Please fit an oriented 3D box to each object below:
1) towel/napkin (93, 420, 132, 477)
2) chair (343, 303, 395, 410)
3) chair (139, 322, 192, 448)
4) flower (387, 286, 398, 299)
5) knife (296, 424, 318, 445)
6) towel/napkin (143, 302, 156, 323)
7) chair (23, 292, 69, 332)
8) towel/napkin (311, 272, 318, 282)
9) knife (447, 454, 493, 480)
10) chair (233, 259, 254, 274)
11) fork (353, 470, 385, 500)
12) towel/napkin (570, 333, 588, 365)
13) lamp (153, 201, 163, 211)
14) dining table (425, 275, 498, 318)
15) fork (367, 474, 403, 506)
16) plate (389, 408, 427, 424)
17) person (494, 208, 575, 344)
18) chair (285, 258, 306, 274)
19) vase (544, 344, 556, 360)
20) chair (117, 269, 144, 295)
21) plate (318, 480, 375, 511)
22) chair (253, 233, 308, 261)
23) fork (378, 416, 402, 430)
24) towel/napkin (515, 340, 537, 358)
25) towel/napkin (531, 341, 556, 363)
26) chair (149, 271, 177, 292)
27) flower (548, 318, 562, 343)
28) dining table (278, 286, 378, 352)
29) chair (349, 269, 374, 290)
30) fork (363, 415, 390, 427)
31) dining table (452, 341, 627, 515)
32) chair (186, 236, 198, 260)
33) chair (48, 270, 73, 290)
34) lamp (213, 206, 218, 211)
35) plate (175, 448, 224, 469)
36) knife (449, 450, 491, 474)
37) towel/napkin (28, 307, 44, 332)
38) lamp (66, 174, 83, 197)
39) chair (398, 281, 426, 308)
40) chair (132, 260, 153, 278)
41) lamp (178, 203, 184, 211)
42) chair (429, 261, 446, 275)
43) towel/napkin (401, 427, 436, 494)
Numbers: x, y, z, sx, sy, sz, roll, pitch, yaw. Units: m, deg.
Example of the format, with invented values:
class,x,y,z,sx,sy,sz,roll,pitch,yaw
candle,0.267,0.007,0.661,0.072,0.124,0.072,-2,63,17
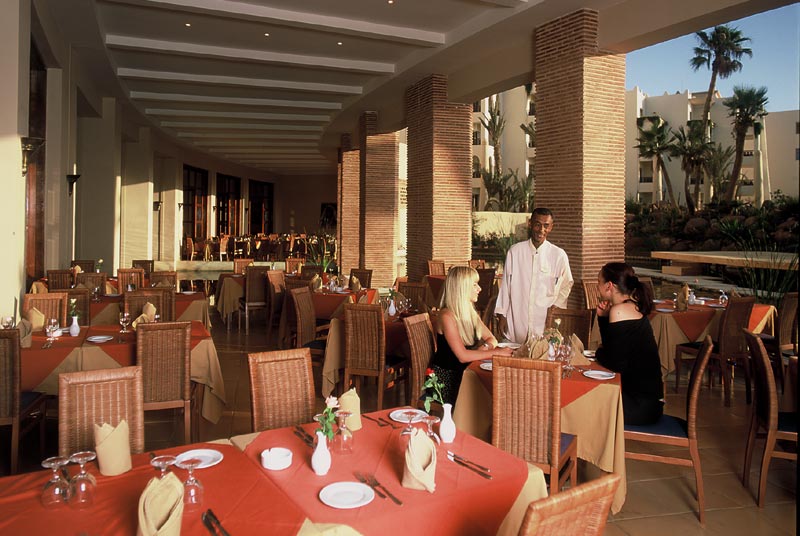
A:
class,x,y,z,sx,sy,sz,roll,pitch,yaw
towel/napkin,-1.628,0.980,3.116,0.184,0.262,0.165,0,-21,-31
chair,-0.357,0.960,6.027,0.526,1.254,0.865,0,8,-6
chair,-2.064,0.983,4.832,0.434,1.030,0.360,-3,8,-25
flower,-0.057,0.310,6.919,0.155,0.166,0.157,-4,3,-19
knife,-0.596,1.036,3.451,0.073,0.035,0.252,-2,12,-22
towel/napkin,-2.460,0.447,5.489,0.188,0.209,0.055,-18,-16,40
chair,-3.694,0.456,5.765,0.333,0.586,0.370,1,-4,-17
towel/napkin,-1.351,0.133,8.787,0.085,0.110,0.208,5,17,2
knife,0.408,1.129,3.182,0.082,0.036,0.312,-11,14,-35
chair,-3.245,-0.062,11.247,0.454,0.310,0.470,-1,11,-2
fork,-0.167,1.172,3.028,0.066,0.015,0.252,-1,6,-31
towel/napkin,1.474,0.660,4.532,0.079,0.259,0.194,-3,4,-3
lamp,-7.681,-1.982,17.534,0.268,0.353,2.068,-3,9,-23
dining table,0.972,0.344,9.311,0.807,1.069,0.818,-1,9,-24
fork,-0.092,1.169,2.974,0.068,0.014,0.257,0,9,-22
plate,0.051,0.981,3.681,0.133,0.020,0.138,1,4,27
person,1.472,0.415,6.095,0.756,2.115,0.511,7,27,16
chair,-2.241,-0.063,11.807,0.305,0.323,0.223,5,8,-2
vase,1.174,0.655,4.341,0.076,0.111,0.108,2,-8,-9
chair,-3.952,0.192,8.098,0.299,0.433,0.312,-1,8,-27
plate,-0.280,1.191,2.914,0.298,0.054,0.178,0,8,-4
chair,-4.638,-0.793,21.542,1.783,0.996,2.658,1,8,1
fork,-0.075,1.003,3.646,0.055,0.015,0.167,1,1,-21
towel/napkin,1.035,0.645,4.500,0.108,0.169,0.170,2,-4,-35
towel/napkin,1.120,0.641,4.300,0.139,0.146,0.138,-6,-9,37
chair,-3.383,0.177,7.870,0.292,0.231,0.164,0,-4,4
flower,1.386,0.548,4.918,0.149,0.206,0.142,1,-4,-14
dining table,-1.313,0.590,7.562,1.146,0.645,0.973,0,-2,26
chair,-0.724,0.176,10.249,0.302,0.570,0.384,0,-3,20
fork,-0.165,0.984,3.703,0.055,0.061,0.396,4,-2,-21
dining table,1.220,1.010,4.644,1.336,1.348,1.163,6,14,26
chair,-7.197,-0.700,19.034,0.380,0.841,1.131,-2,8,-21
chair,-4.887,0.156,7.920,0.237,0.356,0.247,2,-3,-36
lamp,-7.721,-2.539,23.091,0.133,0.253,0.257,-2,0,29
plate,-1.158,1.078,3.183,0.155,0.018,0.157,-2,6,-24
knife,0.399,1.127,3.191,0.079,0.030,0.291,-13,16,-35
towel/napkin,-3.628,0.513,5.497,0.148,0.263,0.137,16,19,42
lamp,-5.657,-1.453,9.537,0.165,0.353,0.634,-4,9,-31
chair,0.196,0.357,7.673,0.350,0.516,0.284,-1,4,-8
chair,-4.459,-0.001,9.574,0.273,0.288,0.155,1,0,-12
lamp,-7.691,-2.187,19.413,0.094,0.305,1.344,-2,8,-17
chair,0.731,-0.019,11.053,0.261,0.484,0.295,-1,-1,-12
towel/napkin,0.107,1.042,3.052,0.185,0.278,0.216,1,8,5
